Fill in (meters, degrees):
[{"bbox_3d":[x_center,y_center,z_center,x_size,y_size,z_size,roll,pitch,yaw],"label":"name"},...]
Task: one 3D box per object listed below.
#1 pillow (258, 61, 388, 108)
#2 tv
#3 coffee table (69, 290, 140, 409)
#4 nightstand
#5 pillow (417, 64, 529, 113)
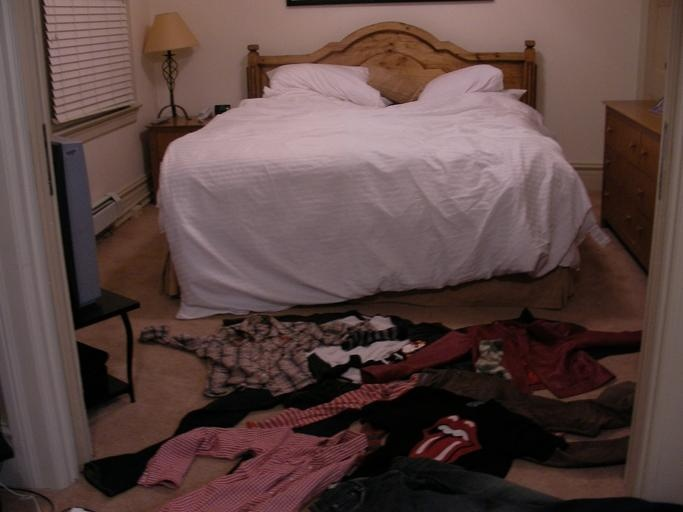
[{"bbox_3d":[-0.141,-1.380,4.368,0.785,0.188,0.469,4,43,-1],"label":"pillow"},{"bbox_3d":[-1.022,-0.110,2.117,0.159,0.649,0.089,-15,22,-31],"label":"tv"},{"bbox_3d":[-1.010,0.414,2.337,0.289,0.345,0.385,-15,30,-31],"label":"coffee table"},{"bbox_3d":[-1.438,-0.821,4.765,0.518,0.695,0.516,-10,20,-18],"label":"nightstand"},{"bbox_3d":[0.936,-1.351,4.262,0.655,0.229,0.324,0,19,8],"label":"pillow"}]
